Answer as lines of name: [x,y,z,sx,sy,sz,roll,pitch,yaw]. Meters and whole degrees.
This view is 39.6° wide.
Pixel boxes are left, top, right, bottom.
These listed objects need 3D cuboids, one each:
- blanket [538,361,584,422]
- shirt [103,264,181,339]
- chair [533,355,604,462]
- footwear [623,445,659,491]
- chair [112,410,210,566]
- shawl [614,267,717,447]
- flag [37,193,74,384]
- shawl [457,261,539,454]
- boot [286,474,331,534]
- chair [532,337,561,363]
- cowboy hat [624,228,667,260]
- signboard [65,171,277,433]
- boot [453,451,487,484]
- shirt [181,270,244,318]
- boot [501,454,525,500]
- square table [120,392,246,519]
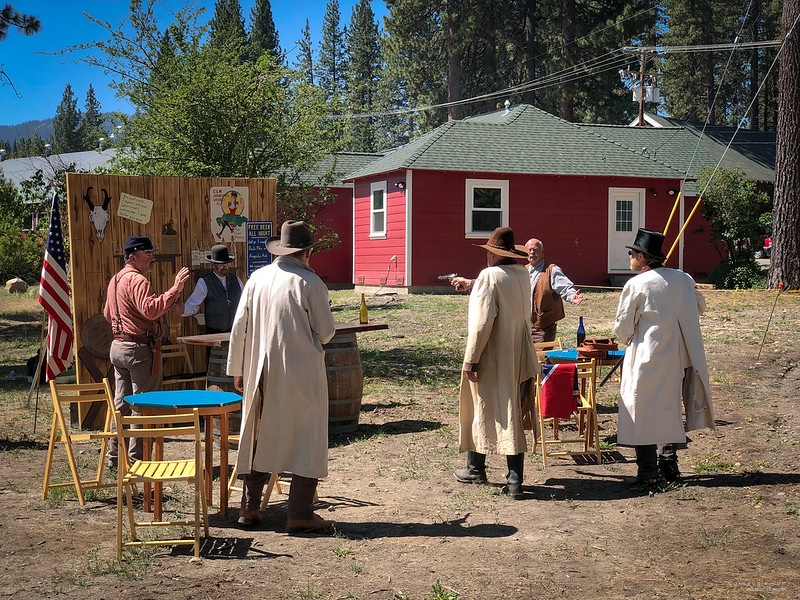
blanket: [2.001,1.141,13.922,0.504,0.671,0.240,1,-5,0]
shirt: [-3.345,0.037,14.327,0.336,0.545,1.024,-8,7,-41]
chair: [2.158,1.439,14.455,0.857,1.253,0.961,-1,4,9]
footwear: [3.009,2.071,13.576,0.543,0.603,0.322,2,-1,17]
chair: [-2.717,1.853,12.663,1.014,1.547,1.967,-3,13,-11]
shawl: [3.210,0.704,13.560,1.115,2.111,0.630,-1,13,-3]
flag: [-4.772,-0.194,15.415,0.380,2.382,1.251,-4,14,-16]
shawl: [1.220,0.720,13.540,0.906,2.253,0.843,4,14,19]
boot: [-1.080,2.370,12.890,0.672,0.749,0.413,0,1,-23]
chair: [2.001,0.662,15.162,0.331,0.566,0.389,-2,9,-8]
cowboy hat: [3.061,-0.670,13.713,0.417,0.249,0.413,27,15,21]
signboard: [-3.132,0.075,14.831,3.714,4.077,0.166,-2,1,-32]
boot: [0.899,2.117,14.002,0.490,0.492,0.259,6,3,38]
shirt: [-2.536,-0.077,15.677,0.355,0.651,1.440,-3,3,41]
boot: [1.391,2.127,13.398,0.182,0.516,0.203,0,13,1]
square table: [-2.528,1.809,12.798,1.602,1.265,1.627,-3,-7,20]
